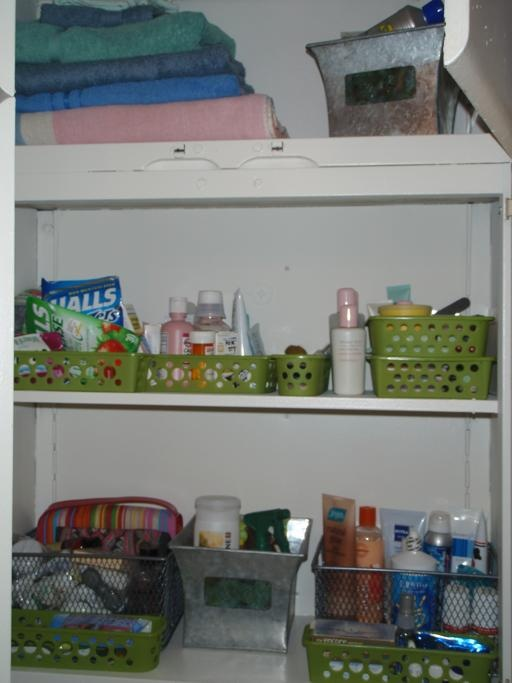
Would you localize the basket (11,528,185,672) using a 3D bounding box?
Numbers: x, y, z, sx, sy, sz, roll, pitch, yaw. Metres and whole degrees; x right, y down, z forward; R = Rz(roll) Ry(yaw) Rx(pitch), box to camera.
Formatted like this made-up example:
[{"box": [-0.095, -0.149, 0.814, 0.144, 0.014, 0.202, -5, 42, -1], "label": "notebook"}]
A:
[{"box": [-0.246, 0.410, 1.115, 0.228, 0.122, 0.214, 2, 0, 2], "label": "basket"}]

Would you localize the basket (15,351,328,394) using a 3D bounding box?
[{"box": [-0.135, 0.050, 1.103, 0.357, 0.047, 0.165, 0, 0, 4], "label": "basket"}]

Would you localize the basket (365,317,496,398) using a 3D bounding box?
[{"box": [0.263, 0.023, 1.065, 0.183, 0.126, 0.062, -2, 0, 9], "label": "basket"}]

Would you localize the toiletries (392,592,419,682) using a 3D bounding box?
[{"box": [0.214, 0.424, 1.008, 0.057, 0.103, 0.044, 2, 5, 8], "label": "toiletries"}]

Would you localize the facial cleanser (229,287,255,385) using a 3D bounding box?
[{"box": [-0.021, -0.033, 1.171, 0.030, 0.109, 0.029, -3, 5, 28], "label": "facial cleanser"}]

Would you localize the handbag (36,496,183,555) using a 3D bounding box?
[{"box": [-0.262, 0.309, 1.276, 0.259, 0.085, 0.140, 0, 9, 12], "label": "handbag"}]
